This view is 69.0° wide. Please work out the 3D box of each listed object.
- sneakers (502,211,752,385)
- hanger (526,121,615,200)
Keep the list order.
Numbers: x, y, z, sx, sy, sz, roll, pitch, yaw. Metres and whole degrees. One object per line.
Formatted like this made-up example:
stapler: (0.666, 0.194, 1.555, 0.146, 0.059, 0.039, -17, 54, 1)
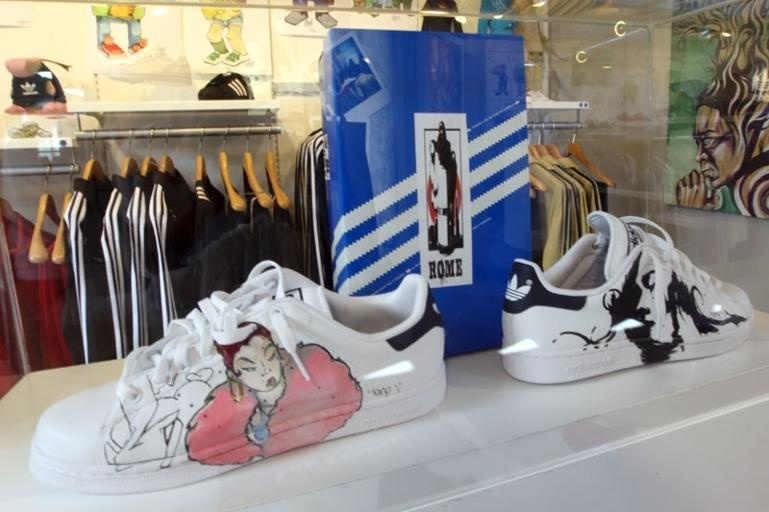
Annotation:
sneakers: (0.404, 0.039, 1.043, 0.468, 0.269, 0.199, -9, 11, -16)
hanger: (0.328, -0.176, 1.013, 0.121, 0.083, 0.009, 8, 3, -9)
